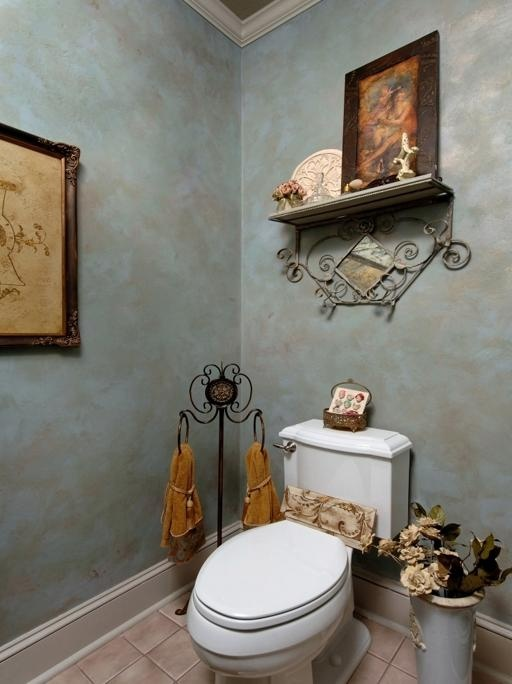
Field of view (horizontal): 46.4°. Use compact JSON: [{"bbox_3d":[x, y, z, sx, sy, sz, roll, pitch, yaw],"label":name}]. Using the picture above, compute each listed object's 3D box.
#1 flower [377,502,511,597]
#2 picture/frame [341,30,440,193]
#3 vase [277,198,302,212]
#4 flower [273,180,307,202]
[{"bbox_3d":[0.545,0.639,1.774,0.332,0.139,0.338,-23,13,-12],"label":"flower"},{"bbox_3d":[0.456,-0.809,2.098,0.389,0.477,0.076,4,7,42],"label":"picture/frame"},{"bbox_3d":[0.121,-0.531,2.290,0.062,0.030,0.063,8,31,43],"label":"vase"},{"bbox_3d":[0.134,-0.575,2.276,0.088,0.050,0.095,-13,30,-28],"label":"flower"}]
